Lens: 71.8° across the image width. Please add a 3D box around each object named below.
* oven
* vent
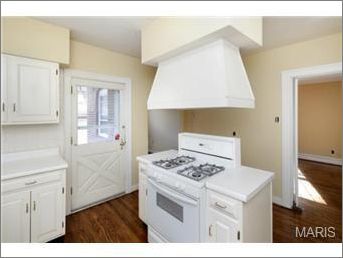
[{"bbox_3d":[0.084,0.961,2.858,0.449,0.783,0.821,-4,12,-44],"label":"oven"},{"bbox_3d":[0.353,-0.652,3.207,1.412,0.707,0.753,3,10,44],"label":"vent"}]
